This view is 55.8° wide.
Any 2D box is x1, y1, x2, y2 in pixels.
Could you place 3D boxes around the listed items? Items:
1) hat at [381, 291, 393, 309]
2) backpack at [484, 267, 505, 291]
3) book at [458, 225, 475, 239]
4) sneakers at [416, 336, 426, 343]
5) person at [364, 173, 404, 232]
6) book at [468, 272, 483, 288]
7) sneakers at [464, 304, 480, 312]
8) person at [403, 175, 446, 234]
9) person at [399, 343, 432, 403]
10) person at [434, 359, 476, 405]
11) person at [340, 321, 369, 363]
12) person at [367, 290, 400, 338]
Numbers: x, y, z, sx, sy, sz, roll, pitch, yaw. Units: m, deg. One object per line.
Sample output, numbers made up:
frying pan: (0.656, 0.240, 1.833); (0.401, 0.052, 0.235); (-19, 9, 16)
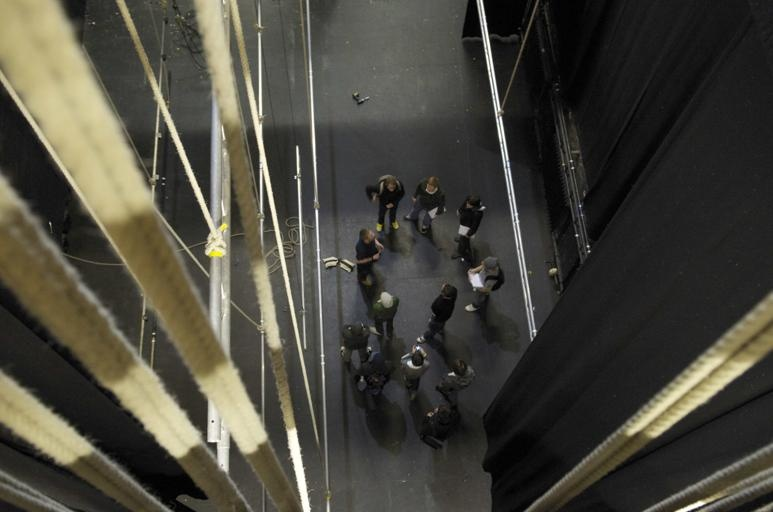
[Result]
hat: (0.010, 0.466, 8.107); (0.115, 0.137, 0.184); (-13, 60, 12)
backpack: (1.254, 0.255, 8.417); (0.220, 0.313, 0.413); (6, 13, 12)
book: (0.958, -0.282, 8.662); (0.156, 0.122, 0.131); (18, 13, -36)
sneakers: (0.407, 0.989, 8.581); (0.107, 0.060, 0.047); (1, 4, -2)
person: (-0.022, -0.631, 8.848); (0.431, 0.964, 0.402); (-9, 58, -8)
book: (1.038, 0.291, 8.506); (0.049, 0.168, 0.170); (17, 70, 31)
sneakers: (1.022, 0.628, 8.788); (0.162, 0.081, 0.066); (-3, -3, 7)
person: (0.495, -0.632, 8.917); (0.452, 1.073, 0.252); (38, 67, 13)
person: (0.306, 1.213, 8.148); (0.314, 0.865, 0.563); (1, 36, 1)
person: (0.744, 1.372, 7.970); (0.267, 0.722, 0.286); (11, 55, -2)
person: (-0.350, 0.948, 8.278); (0.385, 1.026, 0.307); (-1, 58, -3)
person: (-0.020, 0.637, 8.406); (0.318, 0.958, 0.282); (-17, 62, -12)
